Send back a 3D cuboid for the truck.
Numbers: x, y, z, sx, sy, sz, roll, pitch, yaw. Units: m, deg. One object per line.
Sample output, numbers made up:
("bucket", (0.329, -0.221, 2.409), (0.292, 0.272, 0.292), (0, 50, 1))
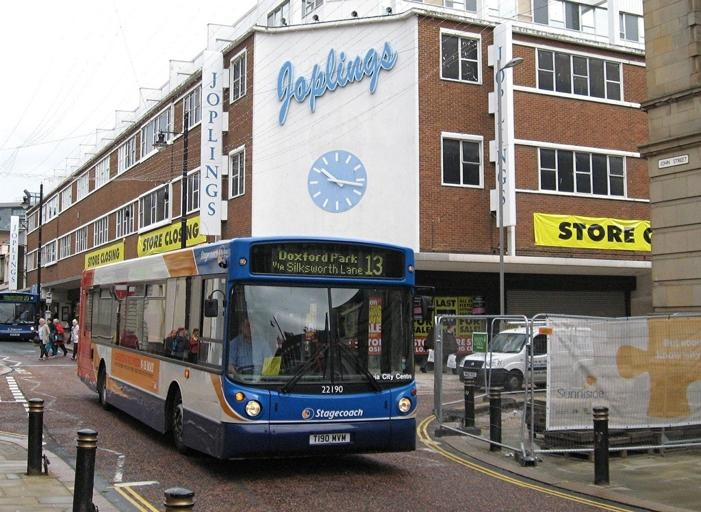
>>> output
("truck", (2.955, 1.902, 16.461), (0.579, 1.237, 2.476), (3, -8, -15))
